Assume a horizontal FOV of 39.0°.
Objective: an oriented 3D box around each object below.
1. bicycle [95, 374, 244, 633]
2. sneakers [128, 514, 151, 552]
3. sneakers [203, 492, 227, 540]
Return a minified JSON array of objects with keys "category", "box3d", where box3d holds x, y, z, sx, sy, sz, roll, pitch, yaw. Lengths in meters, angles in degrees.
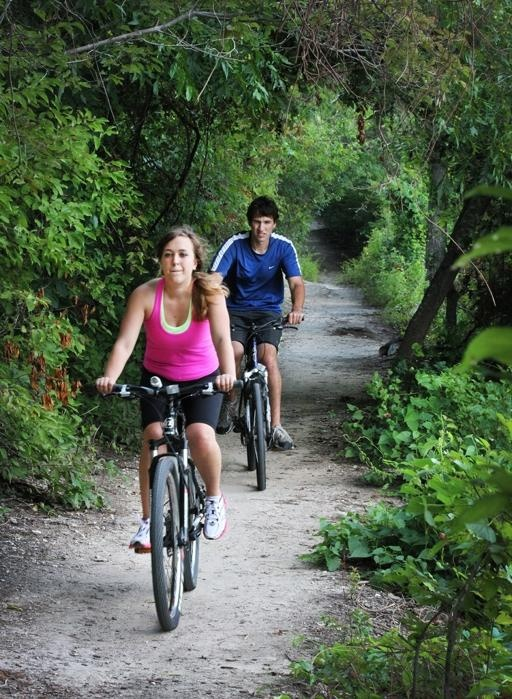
[{"category":"bicycle","box3d":[-0.345,0.696,3.417,0.412,1.162,0.848,-3,3,15]},{"category":"sneakers","box3d":[-0.565,0.945,3.662,0.117,0.117,0.273,1,-8,5]},{"category":"sneakers","box3d":[-0.196,0.860,3.827,0.096,0.115,0.268,-3,11,2]}]
